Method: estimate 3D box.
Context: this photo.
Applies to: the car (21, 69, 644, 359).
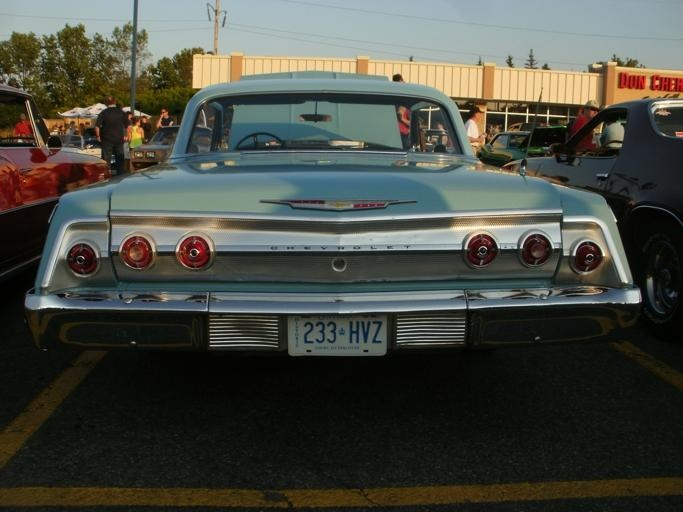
[{"bbox_3d":[-0.170,-0.729,4.743,3.169,1.715,4.136,0,13,-5],"label":"car"}]
